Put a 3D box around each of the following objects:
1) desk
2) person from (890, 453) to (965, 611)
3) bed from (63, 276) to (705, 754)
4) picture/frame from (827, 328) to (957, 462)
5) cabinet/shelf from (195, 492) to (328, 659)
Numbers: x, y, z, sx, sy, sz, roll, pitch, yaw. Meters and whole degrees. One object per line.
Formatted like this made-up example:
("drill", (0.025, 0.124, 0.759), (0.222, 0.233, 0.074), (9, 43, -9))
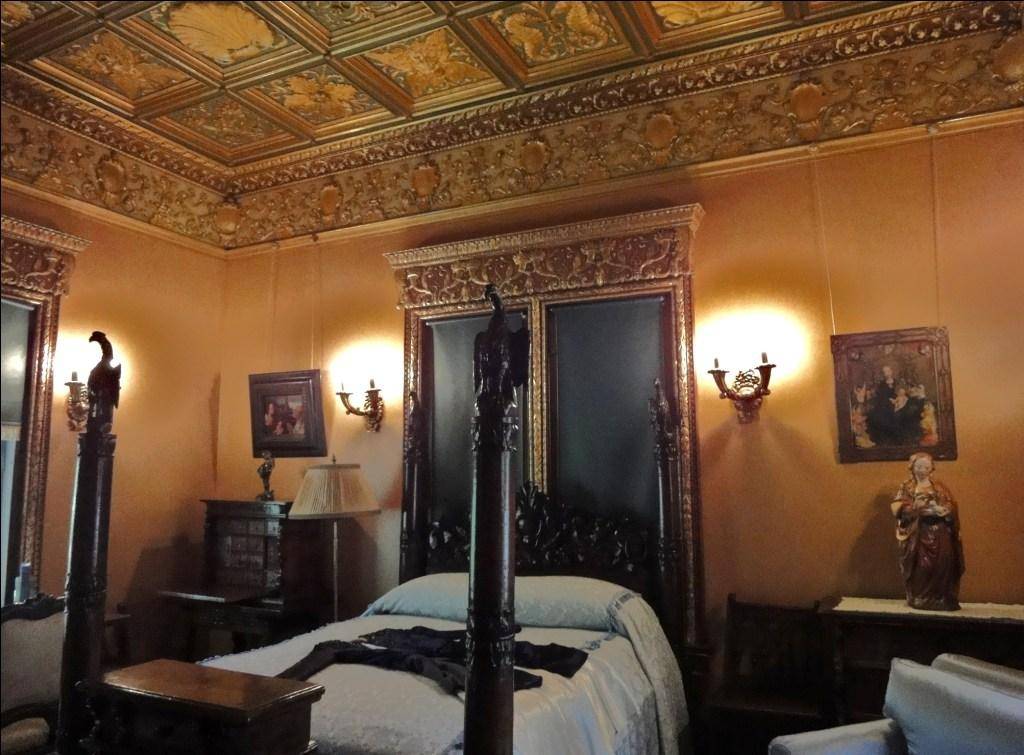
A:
("desk", (-2.432, 2.086, 6.532), (0.413, 0.392, 0.421), (9, -32, 2))
("person", (2.600, 0.963, 4.898), (0.372, 0.947, 0.168), (-1, -5, 25))
("bed", (-0.753, 0.884, 4.902), (2.868, 2.201, 2.921), (-5, -5, 29))
("picture/frame", (2.640, 0.133, 5.363), (0.870, 1.148, 0.111), (-3, -6, 24))
("cabinet/shelf", (-2.202, 1.750, 6.847), (1.026, 1.322, 1.029), (-3, -10, 32))
